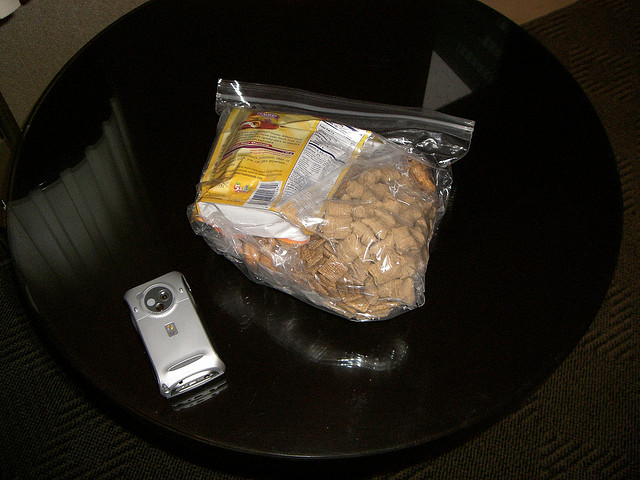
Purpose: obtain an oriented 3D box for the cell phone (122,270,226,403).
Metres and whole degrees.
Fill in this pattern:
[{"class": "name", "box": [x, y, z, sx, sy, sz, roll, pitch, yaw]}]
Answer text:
[{"class": "cell phone", "box": [-0.219, 0.140, 0.771, 0.099, 0.045, 0.181, -19, 62, -26]}]
